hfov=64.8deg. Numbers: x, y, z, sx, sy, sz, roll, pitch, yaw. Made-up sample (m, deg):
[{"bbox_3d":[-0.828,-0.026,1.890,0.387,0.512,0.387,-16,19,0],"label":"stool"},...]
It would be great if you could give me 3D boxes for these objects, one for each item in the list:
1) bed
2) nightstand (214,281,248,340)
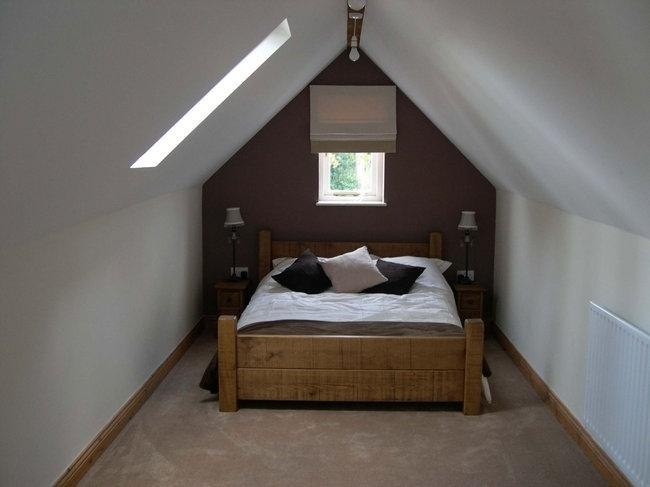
[{"bbox_3d":[0.415,0.576,4.735,2.372,1.023,2.041,0,12,2],"label":"bed"},{"bbox_3d":[-0.997,0.676,5.490,0.380,0.705,0.426,0,5,-2],"label":"nightstand"}]
